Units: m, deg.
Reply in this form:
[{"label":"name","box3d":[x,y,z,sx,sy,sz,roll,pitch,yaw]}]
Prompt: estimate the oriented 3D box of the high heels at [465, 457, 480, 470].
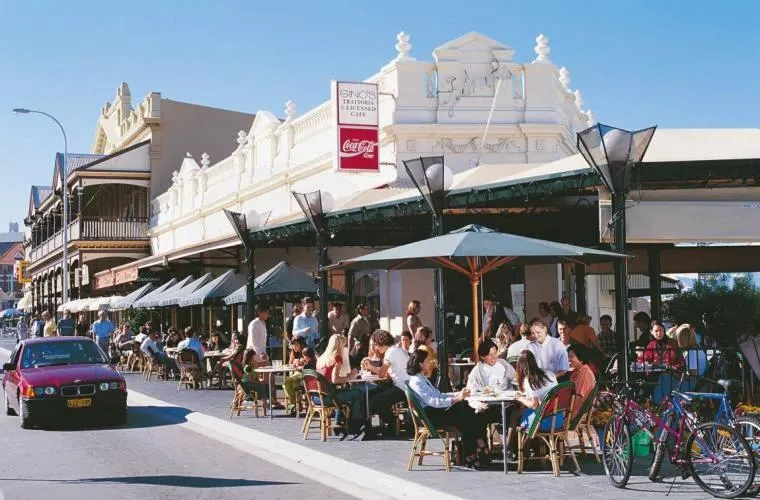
[{"label":"high heels","box3d":[1.705,3.935,21.395,0.229,0.225,0.235,2,-19,-12]}]
